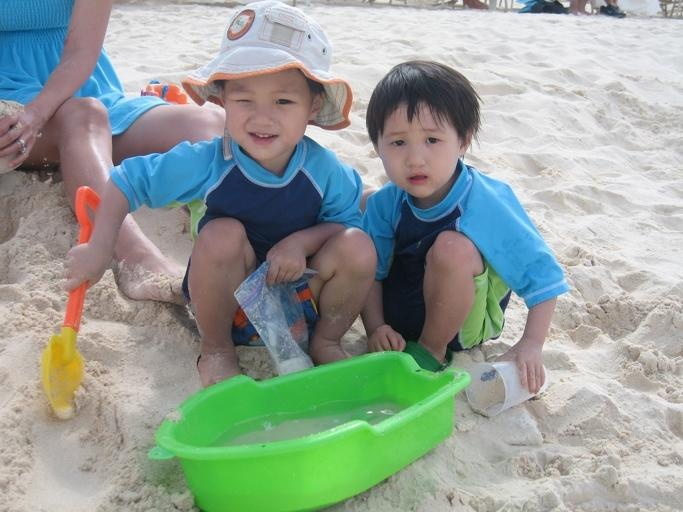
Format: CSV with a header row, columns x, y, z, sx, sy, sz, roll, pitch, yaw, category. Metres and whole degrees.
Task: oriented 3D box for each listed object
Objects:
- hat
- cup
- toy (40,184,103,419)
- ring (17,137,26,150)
x,y,z,sx,sy,sz,roll,pitch,yaw,category
-0.201,-0.678,2.398,0.443,0.263,0.504,10,-10,0,hat
0.503,0.408,2.343,0.311,0.203,0.206,-7,-2,-34,cup
-0.870,0.136,2.269,0.144,0.117,0.730,25,58,-37,toy
-1.192,-0.421,2.577,0.023,0.019,0.030,21,-15,20,ring
